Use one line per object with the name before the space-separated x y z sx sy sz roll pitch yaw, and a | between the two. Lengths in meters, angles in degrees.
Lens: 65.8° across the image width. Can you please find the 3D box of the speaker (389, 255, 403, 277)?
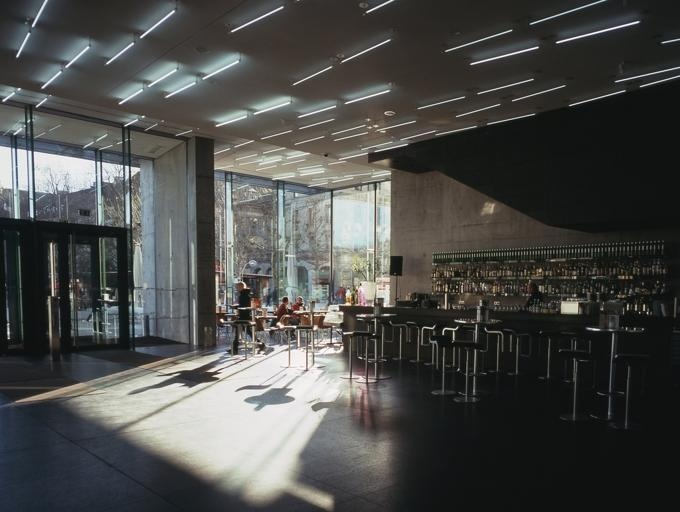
speaker | 1.651 0.280 15.391 0.312 0.578 0.604 0 -3 15

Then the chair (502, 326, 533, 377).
chair | 3.476 1.907 10.371 0.581 0.773 0.605 -1 -3 27

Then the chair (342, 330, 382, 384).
chair | 0.559 1.910 10.336 0.796 1.068 0.923 1 -4 -16

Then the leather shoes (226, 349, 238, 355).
leather shoes | -2.607 2.298 12.541 0.233 0.093 0.242 4 -1 2

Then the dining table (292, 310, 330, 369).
dining table | -0.775 2.053 13.465 1.086 1.542 1.143 1 -10 5

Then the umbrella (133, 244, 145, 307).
umbrella | -5.627 0.533 14.611 0.138 1.799 0.323 -1 -2 30

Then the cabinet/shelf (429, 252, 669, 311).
cabinet/shelf | 4.763 0.543 12.466 5.261 1.453 0.471 -3 -3 43

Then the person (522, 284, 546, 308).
person | 4.289 0.856 11.563 0.362 0.535 0.973 -1 -3 21

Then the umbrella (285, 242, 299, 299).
umbrella | -1.635 0.556 19.573 0.439 2.228 0.394 -4 -2 38
